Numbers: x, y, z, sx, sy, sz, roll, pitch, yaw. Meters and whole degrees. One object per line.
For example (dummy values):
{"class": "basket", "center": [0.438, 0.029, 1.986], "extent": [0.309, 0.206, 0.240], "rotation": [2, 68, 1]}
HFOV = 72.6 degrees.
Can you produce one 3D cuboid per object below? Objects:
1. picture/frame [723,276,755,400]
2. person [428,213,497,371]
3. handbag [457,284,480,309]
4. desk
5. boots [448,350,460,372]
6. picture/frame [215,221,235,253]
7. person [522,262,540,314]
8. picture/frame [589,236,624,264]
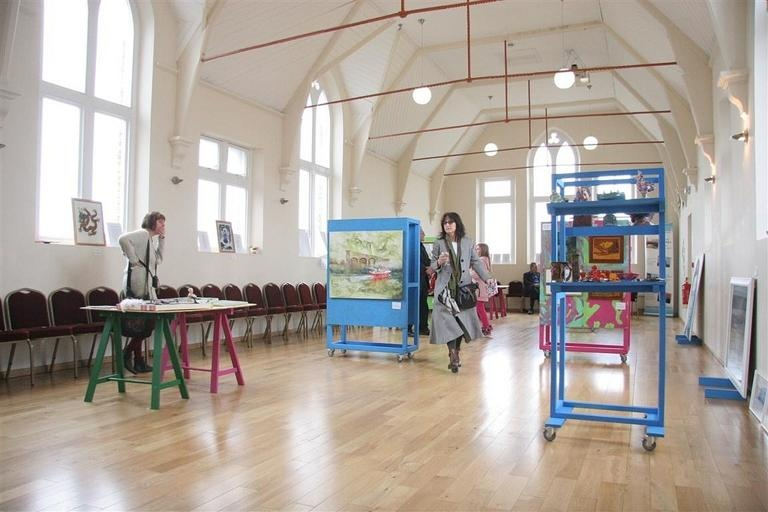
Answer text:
{"class": "picture/frame", "center": [4.584, 1.070, 6.738], "extent": [0.101, 1.539, 1.380], "rotation": [2, -4, 19]}
{"class": "person", "center": [1.105, 0.515, 7.807], "extent": [0.820, 2.377, 0.729], "rotation": [3, 4, 32]}
{"class": "handbag", "center": [1.237, 0.517, 7.794], "extent": [0.291, 0.465, 0.463], "rotation": [-3, -2, 40]}
{"class": "desk", "center": [-2.923, 1.040, 6.688], "extent": [1.638, 1.090, 1.486], "rotation": [-3, -3, 29]}
{"class": "boots", "center": [1.037, 1.552, 7.749], "extent": [0.132, 0.266, 0.375], "rotation": [-1, -15, 2]}
{"class": "picture/frame", "center": [-3.150, -0.394, 10.293], "extent": [0.044, 0.733, 0.617], "rotation": [-14, -8, 22]}
{"class": "person", "center": [4.507, 0.954, 16.064], "extent": [0.436, 1.537, 1.367], "rotation": [1, 4, 14]}
{"class": "picture/frame", "center": [3.924, -0.123, 9.181], "extent": [0.451, 0.408, 0.052], "rotation": [0, -5, 18]}
